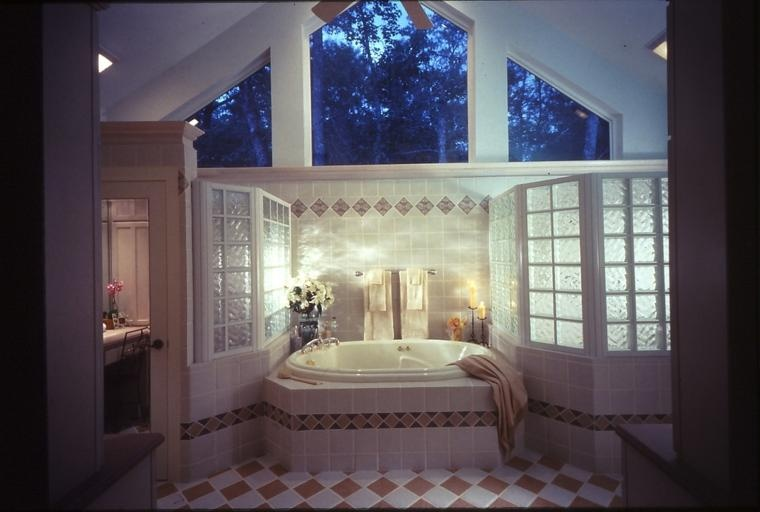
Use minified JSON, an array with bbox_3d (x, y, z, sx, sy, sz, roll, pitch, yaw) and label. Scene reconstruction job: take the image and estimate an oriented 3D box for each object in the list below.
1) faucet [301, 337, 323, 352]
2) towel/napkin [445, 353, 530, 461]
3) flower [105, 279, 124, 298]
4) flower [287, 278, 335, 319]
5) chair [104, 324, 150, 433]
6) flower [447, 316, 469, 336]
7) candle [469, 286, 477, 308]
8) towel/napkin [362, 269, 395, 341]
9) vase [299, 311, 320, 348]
[{"bbox_3d":[-0.623,0.804,5.020,0.099,0.103,0.263,3,5,43],"label":"faucet"},{"bbox_3d":[0.908,1.220,4.508,0.535,0.758,0.332,0,4,13],"label":"towel/napkin"},{"bbox_3d":[-2.185,0.267,4.568,0.138,0.130,0.062,-2,4,-11],"label":"flower"},{"bbox_3d":[-0.628,0.394,5.119,0.389,0.286,0.380,6,-5,-45],"label":"flower"},{"bbox_3d":[-1.987,0.994,4.349,0.345,0.784,0.361,-3,5,-27],"label":"chair"},{"bbox_3d":[0.782,0.674,5.477,0.196,0.192,0.197,3,4,35],"label":"flower"},{"bbox_3d":[0.909,0.390,5.416,0.088,0.214,0.255,-1,4,9],"label":"candle"},{"bbox_3d":[-0.022,0.481,5.494,0.289,0.684,0.094,-1,4,-2],"label":"towel/napkin"},{"bbox_3d":[-0.672,0.670,5.195,0.205,0.312,0.204,3,2,20],"label":"vase"}]
